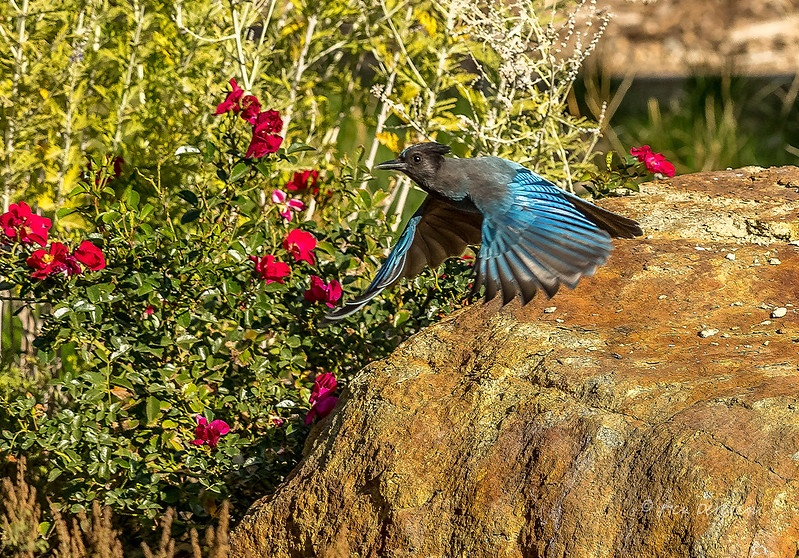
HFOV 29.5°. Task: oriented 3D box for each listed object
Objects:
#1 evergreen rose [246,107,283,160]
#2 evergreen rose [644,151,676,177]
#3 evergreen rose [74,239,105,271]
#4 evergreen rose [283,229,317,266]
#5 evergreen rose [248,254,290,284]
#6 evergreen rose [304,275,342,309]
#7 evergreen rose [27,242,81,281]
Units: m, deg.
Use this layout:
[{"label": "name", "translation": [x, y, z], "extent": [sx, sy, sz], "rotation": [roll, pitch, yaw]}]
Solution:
[{"label": "evergreen rose", "translation": [-0.881, -0.925, 9.683], "extent": [0.241, 0.315, 0.195], "rotation": [-5, 25, -5]}, {"label": "evergreen rose", "translation": [1.880, -0.816, 10.981], "extent": [0.209, 0.226, 0.245], "rotation": [1, 24, 8]}, {"label": "evergreen rose", "translation": [-1.952, -0.139, 9.528], "extent": [0.193, 0.167, 0.086], "rotation": [-21, 20, 37]}, {"label": "evergreen rose", "translation": [-0.648, -0.215, 9.740], "extent": [0.264, 0.209, 0.114], "rotation": [18, 14, -11]}, {"label": "evergreen rose", "translation": [-0.835, -0.060, 9.675], "extent": [0.238, 0.218, 0.182], "rotation": [-4, 24, -4]}, {"label": "evergreen rose", "translation": [-0.507, 0.080, 9.902], "extent": [0.207, 0.146, 0.226], "rotation": [-2, -4, 2]}, {"label": "evergreen rose", "translation": [-2.182, -0.112, 9.486], "extent": [0.310, 0.237, 0.122], "rotation": [-8, 26, -13]}]
